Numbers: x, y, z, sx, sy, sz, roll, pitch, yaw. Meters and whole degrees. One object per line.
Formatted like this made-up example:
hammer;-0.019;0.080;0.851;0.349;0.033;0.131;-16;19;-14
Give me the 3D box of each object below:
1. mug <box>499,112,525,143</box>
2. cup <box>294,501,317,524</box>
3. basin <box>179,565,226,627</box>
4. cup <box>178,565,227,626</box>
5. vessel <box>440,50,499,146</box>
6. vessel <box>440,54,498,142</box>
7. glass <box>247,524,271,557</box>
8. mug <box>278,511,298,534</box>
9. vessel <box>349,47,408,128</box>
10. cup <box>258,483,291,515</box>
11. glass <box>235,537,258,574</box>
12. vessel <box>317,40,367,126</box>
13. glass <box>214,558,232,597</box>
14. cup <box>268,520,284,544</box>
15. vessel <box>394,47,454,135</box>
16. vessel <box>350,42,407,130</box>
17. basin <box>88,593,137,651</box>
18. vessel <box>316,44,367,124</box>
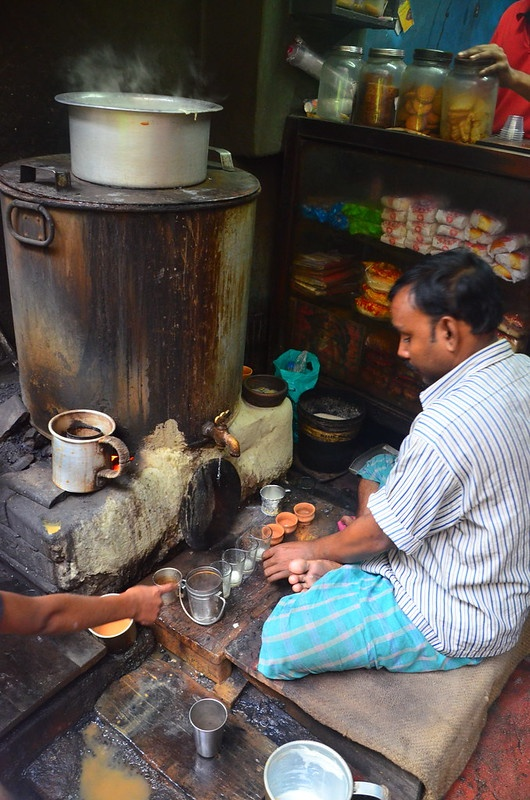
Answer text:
mug;1.141;-1.256;3.093;0.102;0.110;0.141;13;26;13
cup;0.202;0.571;3.385;0.096;0.058;0.089;0;26;0
basin;-0.249;0.785;2.688;0.199;0.213;0.178;3;26;-7
cup;-0.242;0.811;2.670;0.182;0.157;0.164;-5;17;-7
vessel;0.979;-1.455;3.231;0.253;0.381;0.232;5;41;13
vessel;0.983;-1.460;3.221;0.239;0.372;0.228;-15;45;-10
glass;-0.026;0.646;3.041;0.086;0.122;0.083;17;26;31
mug;0.108;0.600;3.282;0.089;0.057;0.083;9;27;12
vessel;0.602;-1.645;3.544;0.243;0.388;0.237;-8;30;-23
cup;0.025;0.501;3.407;0.144;0.137;0.135;2;40;-2
glass;-0.084;0.690;2.953;0.093;0.136;0.094;-13;34;-26
vessel;0.404;-1.790;3.773;0.233;0.374;0.258;31;33;29
glass;-0.165;0.741;2.812;0.111;0.136;0.139;-2;21;-3
cup;0.055;0.619;3.160;0.094;0.069;0.091;3;35;-2
vessel;0.830;-1.567;3.416;0.290;0.392;0.278;3;29;5
vessel;0.600;-1.650;3.546;0.235;0.386;0.239;-19;39;-35
basin;-0.584;0.904;2.581;0.184;0.136;0.119;0;26;-14
vessel;0.418;-1.786;3.777;0.257;0.371;0.230;-17;37;-41
